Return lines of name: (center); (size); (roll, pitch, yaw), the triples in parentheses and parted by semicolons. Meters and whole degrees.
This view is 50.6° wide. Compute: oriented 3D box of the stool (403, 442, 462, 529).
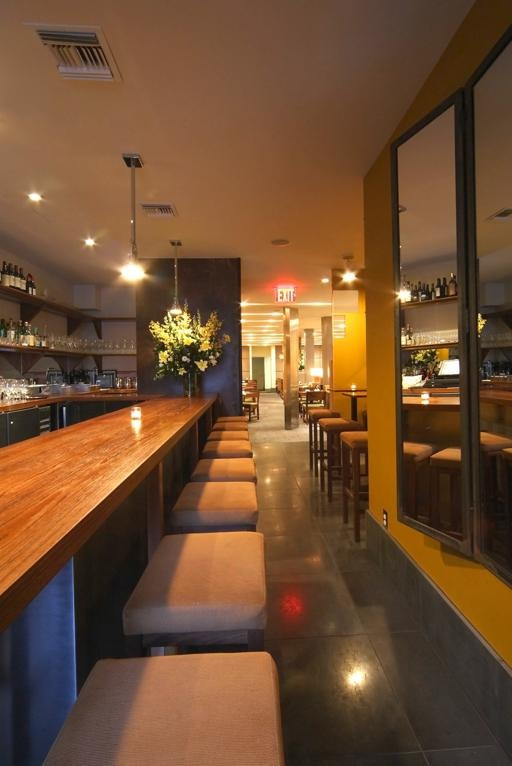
stool: (0.713, 0.412, 2.169); (0.123, 0.290, 0.398); (0, -2, 1)

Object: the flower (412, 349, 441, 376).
flower: (0.694, -0.090, 2.215); (0.072, 0.058, 0.076); (0, 4, -28)

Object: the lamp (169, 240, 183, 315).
lamp: (-0.754, -0.992, 5.103); (0.142, 0.671, 0.153); (1, 3, 14)

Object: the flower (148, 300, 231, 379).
flower: (-0.584, -0.384, 5.070); (0.665, 0.888, 0.736); (-5, 8, -29)
